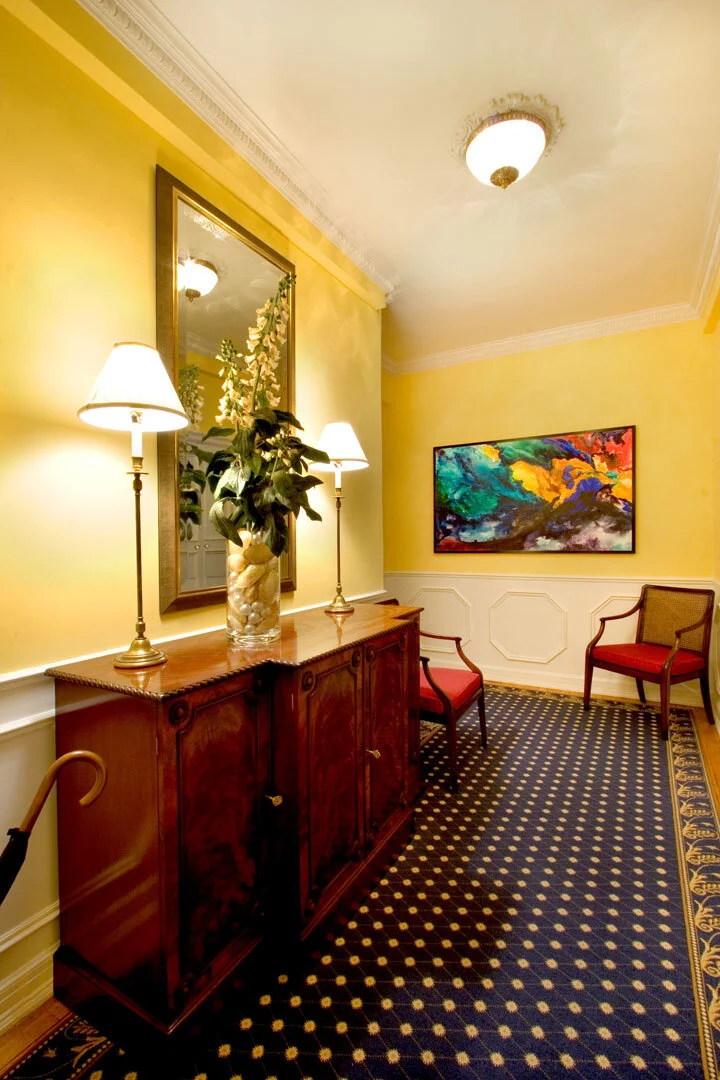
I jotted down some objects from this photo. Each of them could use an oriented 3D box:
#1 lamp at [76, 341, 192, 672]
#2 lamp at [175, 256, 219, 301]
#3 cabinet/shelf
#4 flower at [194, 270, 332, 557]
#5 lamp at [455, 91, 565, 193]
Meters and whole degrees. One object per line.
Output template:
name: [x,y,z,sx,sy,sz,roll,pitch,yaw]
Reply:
lamp: [-0.570,-0.099,1.927,0.250,0.772,0.402,-4,10,-18]
lamp: [-0.511,-0.810,2.330,0.051,0.127,0.124,6,-6,32]
cabinet/shelf: [-0.298,0.657,2.059,0.517,0.809,1.009,6,12,34]
flower: [-0.317,-0.397,2.328,0.402,0.811,0.730,-2,10,-6]
lamp: [0.539,-1.380,2.622,0.336,0.231,0.265,0,10,7]
